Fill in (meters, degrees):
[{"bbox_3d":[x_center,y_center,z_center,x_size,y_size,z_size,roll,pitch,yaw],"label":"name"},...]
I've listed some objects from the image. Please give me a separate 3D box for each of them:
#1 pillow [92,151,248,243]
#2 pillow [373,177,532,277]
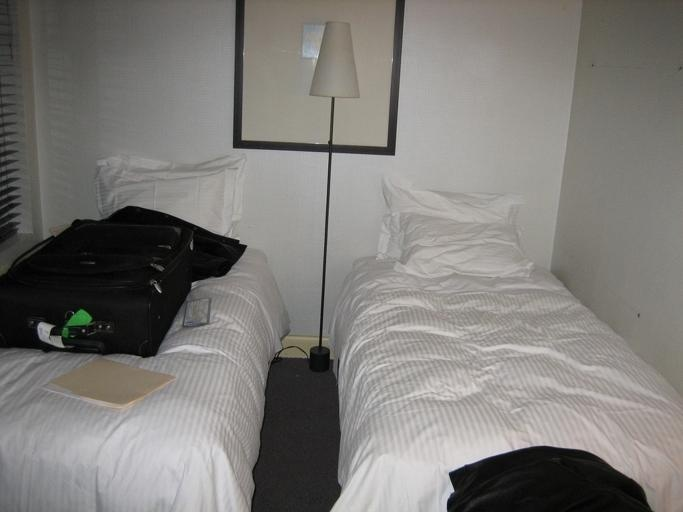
[{"bbox_3d":[-1.025,-0.365,3.019,0.625,0.592,0.226,5,-14,-6],"label":"pillow"},{"bbox_3d":[0.637,-0.107,2.825,0.683,0.301,0.581,1,37,3],"label":"pillow"}]
